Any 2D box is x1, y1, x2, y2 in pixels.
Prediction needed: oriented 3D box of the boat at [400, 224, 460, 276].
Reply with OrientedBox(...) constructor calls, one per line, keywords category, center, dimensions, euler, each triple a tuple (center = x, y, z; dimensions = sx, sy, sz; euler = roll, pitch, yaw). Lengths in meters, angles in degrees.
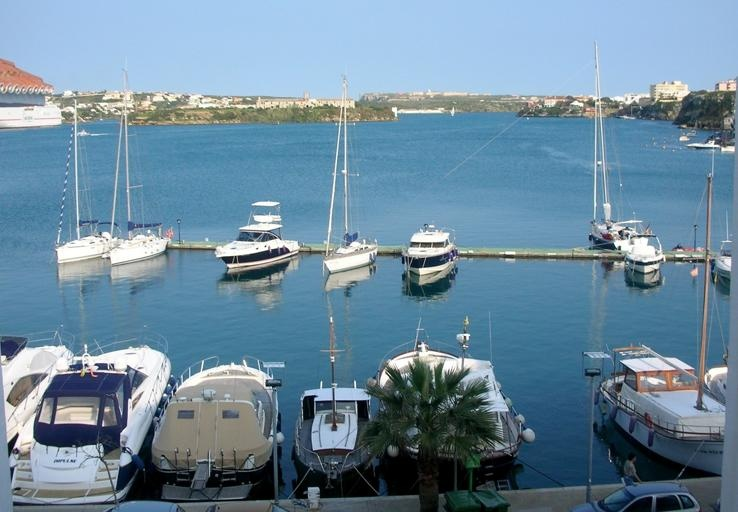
OrientedBox(category="boat", center=(4.748, 0.016, 69.012), dimensions=(4.019, 4.227, 5.113), euler=(-2, 10, 11))
